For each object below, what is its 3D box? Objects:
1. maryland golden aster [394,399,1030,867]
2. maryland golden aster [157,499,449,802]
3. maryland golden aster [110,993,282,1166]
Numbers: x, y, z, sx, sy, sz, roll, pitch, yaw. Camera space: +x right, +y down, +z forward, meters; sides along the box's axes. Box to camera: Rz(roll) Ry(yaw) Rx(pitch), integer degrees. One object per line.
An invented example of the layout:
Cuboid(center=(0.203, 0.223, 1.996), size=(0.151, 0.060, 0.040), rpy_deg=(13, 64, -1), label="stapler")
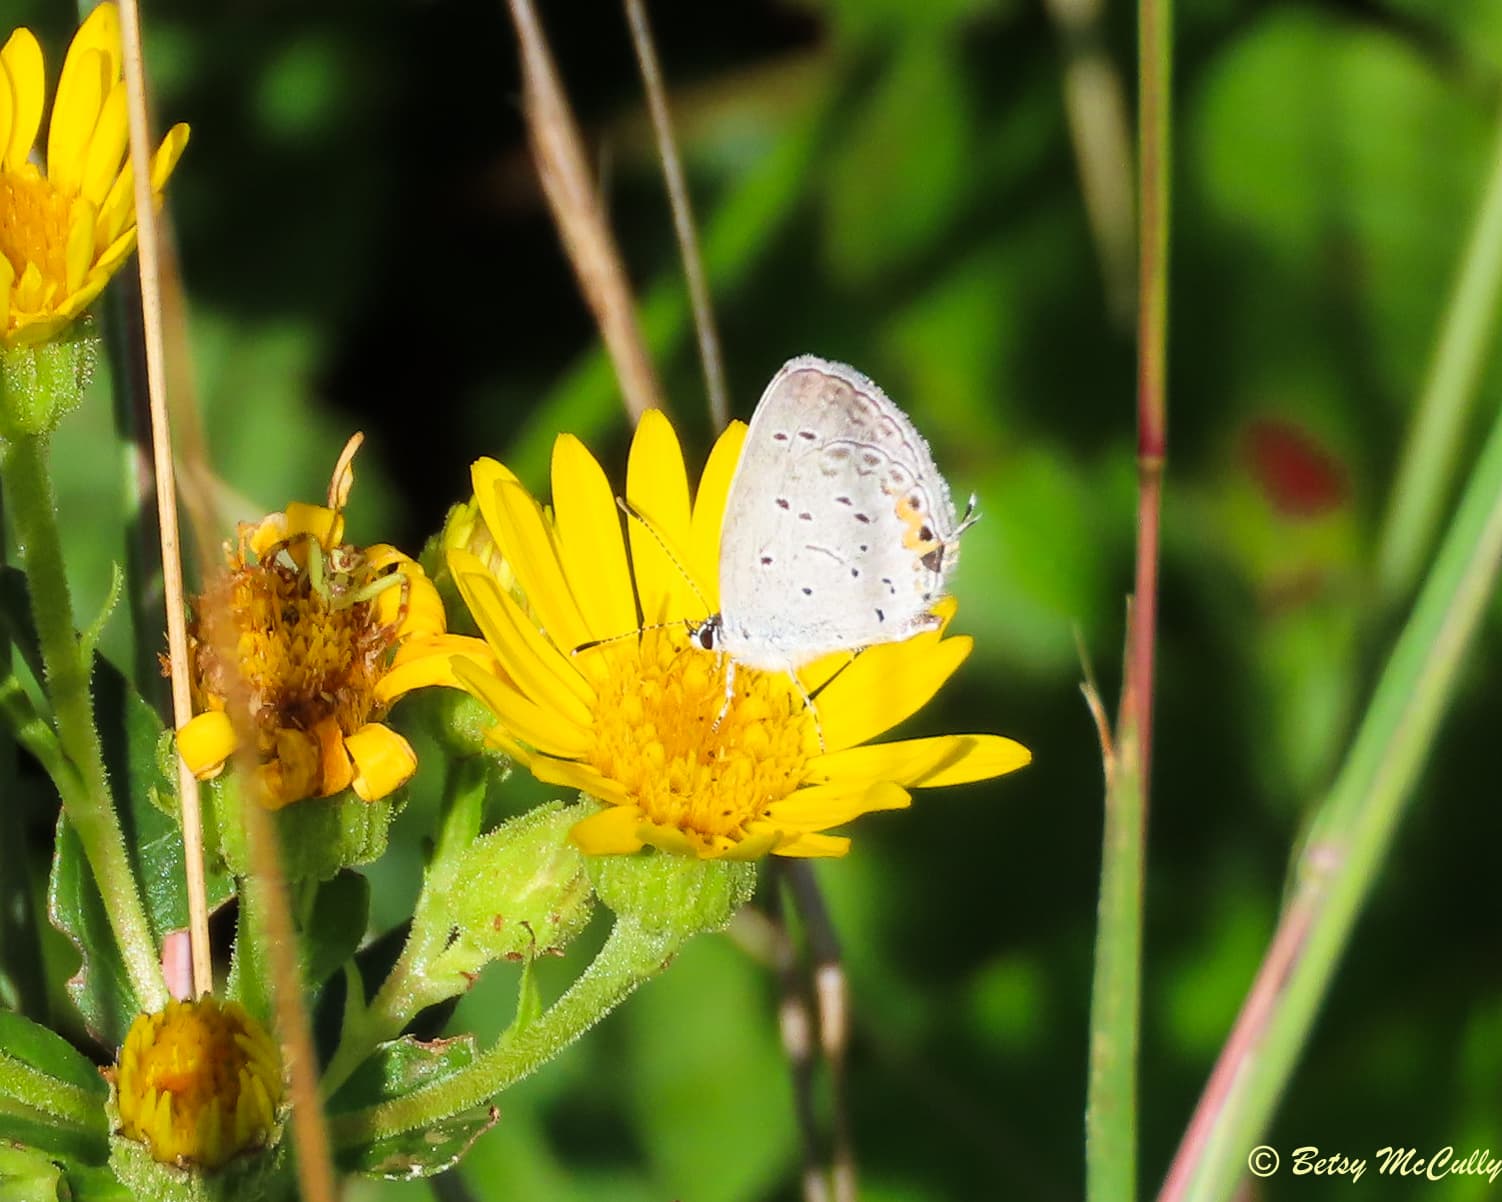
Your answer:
Cuboid(center=(-0.074, 0.038, 2.814), size=(0.827, 0.647, 0.572), rpy_deg=(-3, -1, -12), label="maryland golden aster")
Cuboid(center=(-0.686, 0.102, 2.775), size=(0.381, 0.463, 0.190), rpy_deg=(19, -38, -5), label="maryland golden aster")
Cuboid(center=(-0.795, 0.689, 2.532), size=(0.205, 0.233, 0.136), rpy_deg=(33, -14, 3), label="maryland golden aster")
